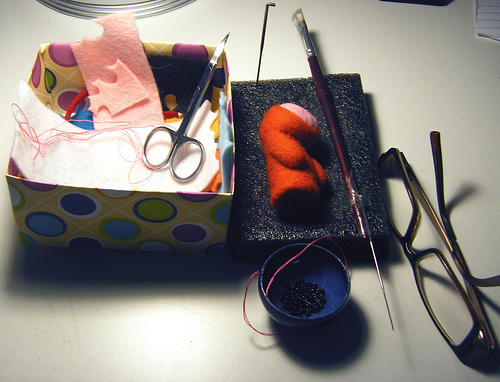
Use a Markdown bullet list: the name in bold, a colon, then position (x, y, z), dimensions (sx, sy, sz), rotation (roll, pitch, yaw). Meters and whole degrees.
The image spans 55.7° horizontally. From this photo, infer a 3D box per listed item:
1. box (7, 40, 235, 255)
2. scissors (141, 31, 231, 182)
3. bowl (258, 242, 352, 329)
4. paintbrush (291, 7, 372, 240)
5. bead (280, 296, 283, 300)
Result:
- **box**: position (-0.166, -0.052, 0.622), dimensions (0.214, 0.138, 0.309), rotation (-4, 48, -24)
- **scissors**: position (-0.088, -0.098, 0.642), dimensions (0.080, 0.012, 0.227), rotation (21, 71, 0)
- **bowl**: position (0.059, 0.123, 0.632), dimensions (0.123, 0.129, 0.074), rotation (-26, 70, -9)
- **paintbrush**: position (0.122, -0.074, 0.660), dimensions (0.042, 0.028, 0.520), rotation (-25, 63, 33)
- **bead**: position (0.039, 0.131, 0.579), dimensions (0.003, 0.003, 0.005), rotation (0, 68, 2)
